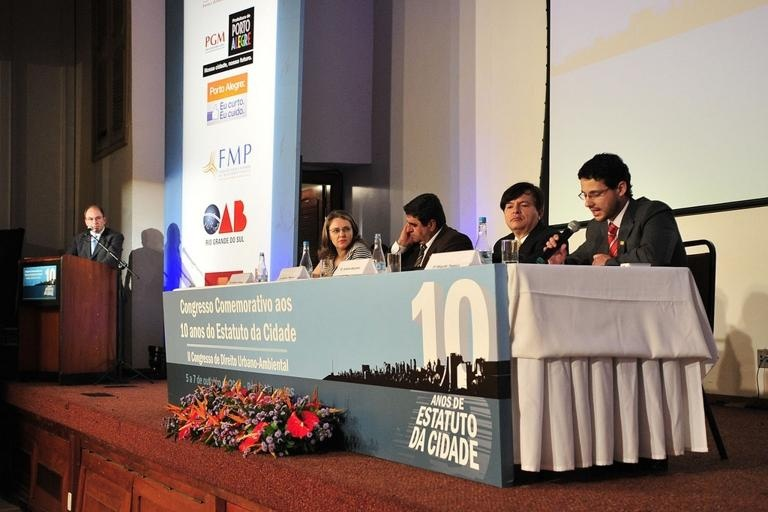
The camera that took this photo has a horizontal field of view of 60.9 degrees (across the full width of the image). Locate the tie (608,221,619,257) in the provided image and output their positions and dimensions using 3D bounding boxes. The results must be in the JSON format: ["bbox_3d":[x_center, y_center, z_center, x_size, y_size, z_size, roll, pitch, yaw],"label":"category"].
[{"bbox_3d":[1.309,-0.101,3.752,0.031,0.159,0.082,-2,-2,-17],"label":"tie"}]

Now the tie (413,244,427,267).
[{"bbox_3d":[0.256,0.000,4.628,0.049,0.031,0.208,-39,12,24],"label":"tie"}]

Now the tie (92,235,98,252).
[{"bbox_3d":[-2.856,-0.132,6.486,0.111,0.165,0.035,0,0,21],"label":"tie"}]

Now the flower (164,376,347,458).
[{"bbox_3d":[-0.680,0.853,3.563,0.722,0.293,0.468,2,0,28],"label":"flower"}]

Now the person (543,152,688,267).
[{"bbox_3d":[1.463,-0.187,3.935,0.719,0.941,0.618,-4,-2,-18],"label":"person"}]

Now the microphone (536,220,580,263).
[{"bbox_3d":[0.960,-0.088,3.650,0.209,0.231,0.326,0,-2,15],"label":"microphone"}]
